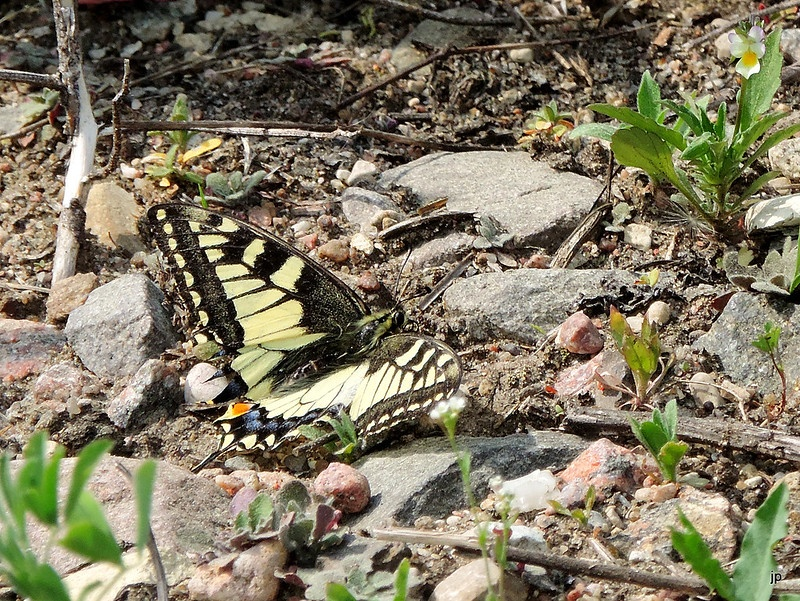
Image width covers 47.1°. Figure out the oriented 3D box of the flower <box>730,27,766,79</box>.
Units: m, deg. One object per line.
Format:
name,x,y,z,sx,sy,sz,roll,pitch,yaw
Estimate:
flower,1.338,-0.966,3.582,0.181,0.183,0.074,8,15,43
